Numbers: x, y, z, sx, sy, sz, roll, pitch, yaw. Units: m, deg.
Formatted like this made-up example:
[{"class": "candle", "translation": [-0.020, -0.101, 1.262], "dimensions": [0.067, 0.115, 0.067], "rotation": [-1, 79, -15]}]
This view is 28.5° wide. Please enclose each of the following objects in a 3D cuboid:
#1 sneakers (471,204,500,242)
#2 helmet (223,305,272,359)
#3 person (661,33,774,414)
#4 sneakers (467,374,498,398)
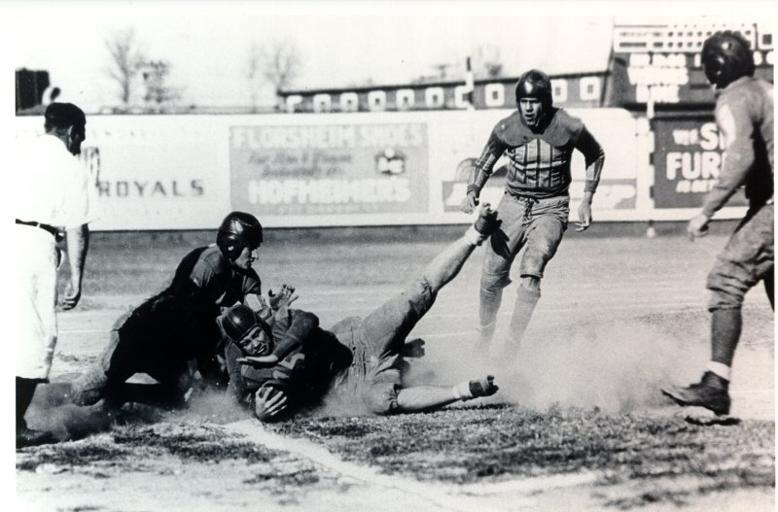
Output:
[{"class": "sneakers", "translation": [1.064, -0.369, 16.998], "dimensions": [0.257, 0.379, 0.144], "rotation": [18, 19, 6]}, {"class": "helmet", "translation": [-1.576, 0.823, 16.710], "dimensions": [0.432, 0.557, 0.598], "rotation": [-42, 10, 5]}, {"class": "person", "translation": [3.813, -0.376, 17.093], "dimensions": [0.988, 4.248, 0.410], "rotation": [-2, 3, 9]}, {"class": "sneakers", "translation": [1.006, 1.438, 16.684], "dimensions": [0.327, 0.217, 0.140], "rotation": [1, -13, 3]}]
